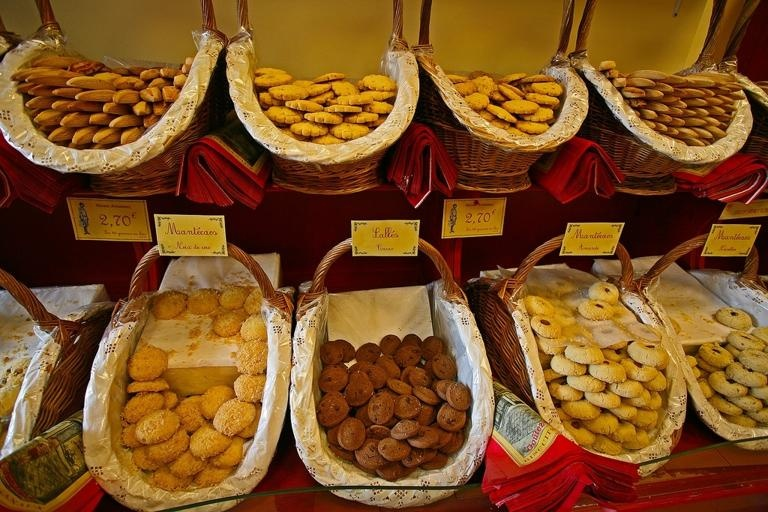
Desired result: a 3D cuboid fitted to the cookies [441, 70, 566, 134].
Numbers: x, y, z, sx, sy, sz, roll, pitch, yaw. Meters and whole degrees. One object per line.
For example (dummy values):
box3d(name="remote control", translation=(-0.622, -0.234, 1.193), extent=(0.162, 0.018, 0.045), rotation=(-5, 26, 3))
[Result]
box3d(name="cookies", translation=(0.470, -0.595, 1.805), extent=(0.332, 0.111, 0.323), rotation=(-7, 41, -33))

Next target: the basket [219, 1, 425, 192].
box3d(name="basket", translation=(-0.210, -0.557, 1.715), extent=(0.682, 0.648, 0.541), rotation=(-6, 33, -10))

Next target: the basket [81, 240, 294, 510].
box3d(name="basket", translation=(-0.818, 0.463, 1.916), extent=(0.606, 0.320, 1.045), rotation=(1, 62, -7))

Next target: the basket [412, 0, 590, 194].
box3d(name="basket", translation=(0.438, -0.583, 1.828), extent=(0.659, 0.701, 0.535), rotation=(1, 33, 1))

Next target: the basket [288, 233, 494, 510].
box3d(name="basket", translation=(0.034, 0.476, 1.847), extent=(0.738, 0.359, 0.998), rotation=(-2, 59, -7))
